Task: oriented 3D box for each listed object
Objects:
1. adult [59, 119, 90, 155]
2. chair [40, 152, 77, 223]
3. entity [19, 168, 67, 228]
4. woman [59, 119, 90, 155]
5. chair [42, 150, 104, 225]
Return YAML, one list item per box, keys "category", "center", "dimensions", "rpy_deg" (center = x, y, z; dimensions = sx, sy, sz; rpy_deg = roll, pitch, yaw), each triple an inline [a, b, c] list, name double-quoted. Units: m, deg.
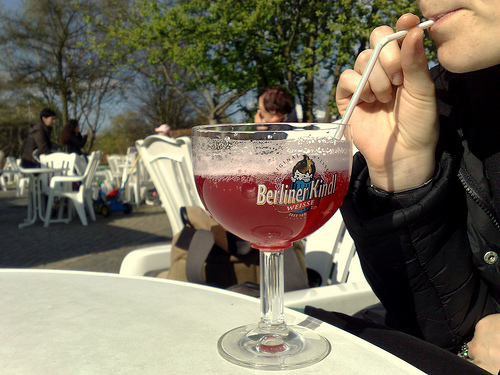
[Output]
- category: "adult"
  center: [-2.868, -0.804, 7.927]
  dimensions: [0.387, 0.593, 0.817]
  rpy_deg: [1, 9, -21]
- category: "chair"
  center: [-2.445, 0.040, 6.249]
  dimensions: [0.537, 0.849, 0.611]
  rpy_deg: [0, 11, -45]
- category: "entity"
  center: [-2.775, 0.113, 6.325]
  dimensions: [0.495, 0.828, 0.757]
  rpy_deg: [-2, 11, -39]
- category: "woman"
  center: [-2.868, -0.803, 7.922]
  dimensions: [0.384, 0.593, 0.807]
  rpy_deg: [2, 9, -21]
- category: "chair"
  center: [-2.388, 0.019, 6.594]
  dimensions: [0.625, 0.954, 0.689]
  rpy_deg: [1, 2, -11]
